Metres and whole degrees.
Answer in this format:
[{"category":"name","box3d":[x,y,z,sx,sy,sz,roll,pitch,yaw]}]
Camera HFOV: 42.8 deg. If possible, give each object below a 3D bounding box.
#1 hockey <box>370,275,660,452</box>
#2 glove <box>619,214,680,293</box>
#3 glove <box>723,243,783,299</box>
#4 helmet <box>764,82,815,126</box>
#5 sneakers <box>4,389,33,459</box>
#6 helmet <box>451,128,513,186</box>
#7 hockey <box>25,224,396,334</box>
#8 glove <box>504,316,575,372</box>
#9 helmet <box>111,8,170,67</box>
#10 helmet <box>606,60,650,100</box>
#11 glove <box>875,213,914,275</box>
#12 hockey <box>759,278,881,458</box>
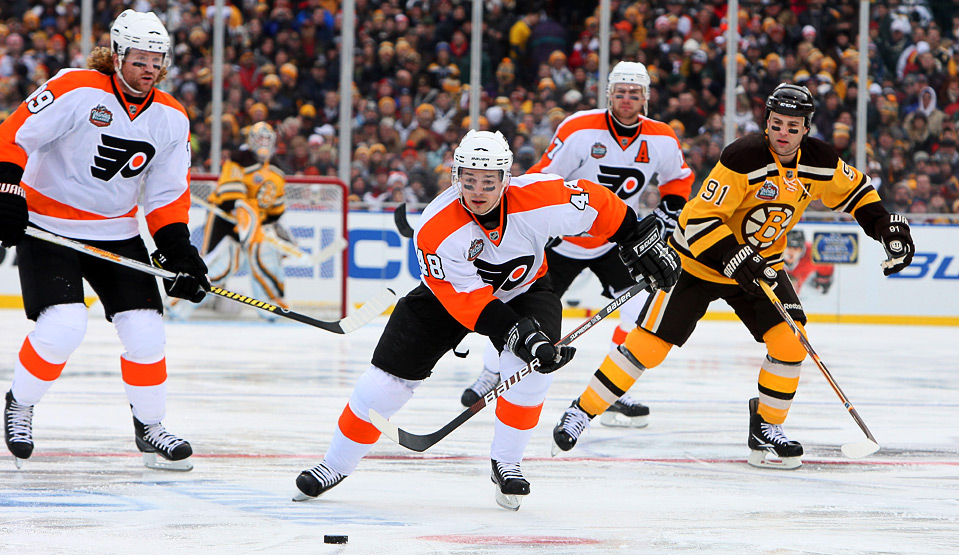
[{"category":"hockey","box3d":[0.221,0.573,7.636,2.180,0.362,0.093,-28,7,3]},{"category":"glove","box3d":[1.006,-0.141,7.122,0.434,0.315,0.199,43,-33,-21]},{"category":"glove","box3d":[1.663,-0.044,7.483,0.341,0.236,0.150,38,-11,-2]},{"category":"helmet","box3d":[1.909,-1.054,7.529,0.257,0.261,0.281,11,22,8]},{"category":"sneakers","box3d":[-2.716,0.873,7.189,0.150,0.200,0.462,-1,46,-33]},{"category":"helmet","box3d":[0.008,-0.705,6.908,0.290,0.285,0.324,1,2,3]},{"category":"hockey","box3d":[-2.117,0.023,9.521,2.288,0.257,0.248,20,-23,-4]},{"category":"glove","box3d":[0.340,0.366,6.786,0.372,0.164,0.263,34,47,-3]},{"category":"helmet","box3d":[-2.002,-1.462,7.273,0.278,0.307,0.341,-10,13,-42]},{"category":"helmet","box3d":[1.013,-1.394,8.495,0.241,0.245,0.285,6,11,1]},{"category":"glove","box3d":[2.609,-0.227,7.727,0.244,0.365,0.179,-13,5,23]},{"category":"hockey","box3d":[2.502,0.680,8.960,0.271,1.317,0.073,-36,-5,23]}]
